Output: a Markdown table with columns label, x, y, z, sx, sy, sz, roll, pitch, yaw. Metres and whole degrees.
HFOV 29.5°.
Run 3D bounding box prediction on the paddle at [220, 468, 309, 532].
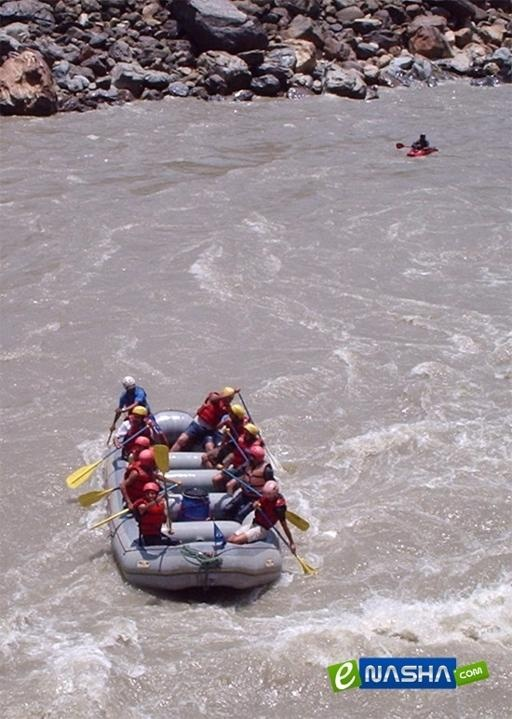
| label | x | y | z | sx | sy | sz | roll | pitch | yaw |
| --- | --- | --- | --- | --- | --- | --- | --- | --- | --- |
| paddle | 0.095 | 1.873 | 12.760 | 0.612 | 0.965 | 0.393 | 21 | 40 | -45 |

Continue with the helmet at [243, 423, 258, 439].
| label | x | y | z | sx | sy | sz | roll | pitch | yaw |
| --- | --- | --- | --- | --- | --- | --- | --- | --- | --- |
| helmet | -0.037 | 0.942 | 12.888 | 0.216 | 0.146 | 0.138 | 26 | 30 | -8 |

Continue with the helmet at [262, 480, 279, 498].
| label | x | y | z | sx | sy | sz | roll | pitch | yaw |
| --- | --- | --- | --- | --- | --- | --- | --- | --- | --- |
| helmet | 0.212 | 1.618 | 12.081 | 0.183 | 0.190 | 0.222 | 15 | -4 | 19 |

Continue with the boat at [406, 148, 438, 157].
| label | x | y | z | sx | sy | sz | roll | pitch | yaw |
| --- | --- | --- | --- | --- | --- | --- | --- | --- | --- |
| boat | 5.168 | -6.236 | 29.561 | 1.268 | 0.252 | 0.385 | -12 | 35 | -35 |

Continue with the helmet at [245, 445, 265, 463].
| label | x | y | z | sx | sy | sz | roll | pitch | yaw |
| --- | --- | --- | --- | --- | --- | --- | --- | --- | --- |
| helmet | 0.016 | 1.224 | 12.611 | 0.247 | 0.186 | 0.184 | 11 | 20 | 22 |

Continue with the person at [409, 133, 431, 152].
| label | x | y | z | sx | sy | sz | roll | pitch | yaw |
| --- | --- | --- | --- | --- | --- | --- | --- | --- | --- |
| person | 5.044 | -6.459 | 29.651 | 0.638 | 0.866 | 0.266 | 10 | 54 | 7 |

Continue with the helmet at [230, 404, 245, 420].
| label | x | y | z | sx | sy | sz | roll | pitch | yaw |
| --- | --- | --- | --- | --- | --- | --- | --- | --- | --- |
| helmet | -0.240 | 0.742 | 13.347 | 0.163 | 0.135 | 0.124 | 49 | 44 | 13 |

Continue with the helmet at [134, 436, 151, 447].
| label | x | y | z | sx | sy | sz | roll | pitch | yaw |
| --- | --- | --- | --- | --- | --- | --- | --- | --- | --- |
| helmet | -1.448 | 1.084 | 12.627 | 0.153 | 0.120 | 0.176 | 10 | -14 | 16 |

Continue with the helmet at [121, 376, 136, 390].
| label | x | y | z | sx | sy | sz | roll | pitch | yaw |
| --- | --- | --- | --- | --- | --- | --- | --- | --- | --- |
| helmet | -1.873 | 0.376 | 14.336 | 0.276 | 0.189 | 0.245 | -1 | 33 | -1 |

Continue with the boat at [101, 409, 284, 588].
| label | x | y | z | sx | sy | sz | roll | pitch | yaw |
| --- | --- | --- | --- | --- | --- | --- | --- | --- | --- |
| boat | -0.891 | 2.273 | 12.665 | 1.935 | 1.210 | 1.921 | -10 | 15 | -17 |

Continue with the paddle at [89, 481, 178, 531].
| label | x | y | z | sx | sy | sz | roll | pitch | yaw |
| --- | --- | --- | --- | --- | --- | --- | --- | --- | --- |
| paddle | -1.502 | 1.880 | 12.425 | 1.442 | 0.195 | 0.306 | -22 | -3 | -13 |

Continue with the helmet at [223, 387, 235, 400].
| label | x | y | z | sx | sy | sz | roll | pitch | yaw |
| --- | --- | --- | --- | --- | --- | --- | --- | --- | --- |
| helmet | -0.374 | 0.493 | 13.934 | 0.141 | 0.144 | 0.171 | 38 | -3 | 0 |

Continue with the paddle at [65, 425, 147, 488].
| label | x | y | z | sx | sy | sz | roll | pitch | yaw |
| --- | --- | --- | --- | --- | --- | --- | --- | --- | --- |
| paddle | -2.076 | 1.411 | 13.692 | 1.831 | 0.074 | 0.344 | -24 | 48 | -18 |
